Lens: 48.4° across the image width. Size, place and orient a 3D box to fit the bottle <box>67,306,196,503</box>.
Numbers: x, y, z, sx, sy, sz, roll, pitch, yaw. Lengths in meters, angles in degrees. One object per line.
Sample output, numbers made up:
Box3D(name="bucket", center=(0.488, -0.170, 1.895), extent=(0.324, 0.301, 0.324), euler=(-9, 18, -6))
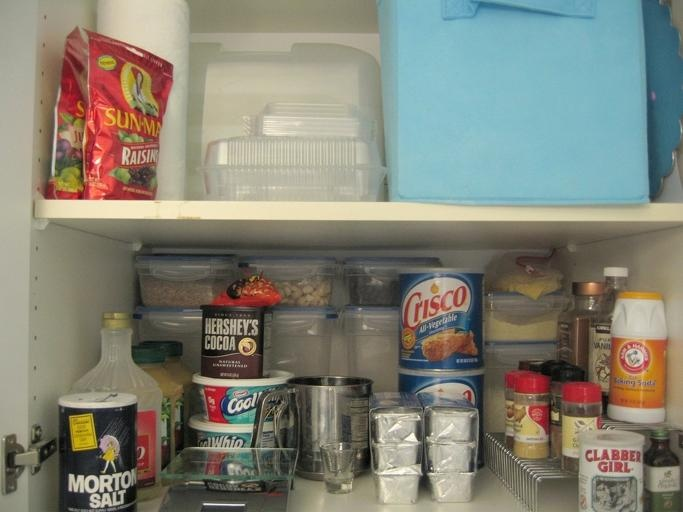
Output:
Box3D(name="bottle", center=(-0.430, 0.256, 1.472), extent=(0.136, 0.393, 0.144), euler=(1, 6, 0))

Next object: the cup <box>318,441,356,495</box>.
Box3D(name="cup", center=(-0.008, 0.410, 1.466), extent=(0.075, 0.090, 0.075), euler=(1, 2, 0))

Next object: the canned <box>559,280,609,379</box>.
Box3D(name="canned", center=(0.509, 0.153, 1.613), extent=(0.069, 0.192, 0.096), euler=(-3, 8, 1))

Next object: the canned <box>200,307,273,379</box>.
Box3D(name="canned", center=(-0.202, 0.166, 1.505), extent=(0.134, 0.129, 0.135), euler=(1, -4, 1))

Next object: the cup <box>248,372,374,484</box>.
Box3D(name="cup", center=(-0.048, 0.331, 1.523), extent=(0.199, 0.226, 0.177), euler=(0, -5, 6))
